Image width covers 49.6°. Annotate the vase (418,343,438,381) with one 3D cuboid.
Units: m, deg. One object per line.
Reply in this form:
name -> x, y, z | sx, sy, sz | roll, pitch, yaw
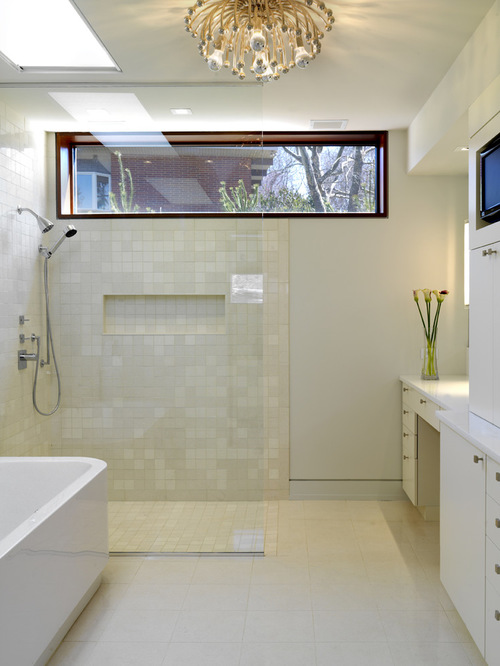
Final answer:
vase -> 1.236, 0.181, 3.743 | 0.101, 0.249, 0.328 | 1, 5, 18
